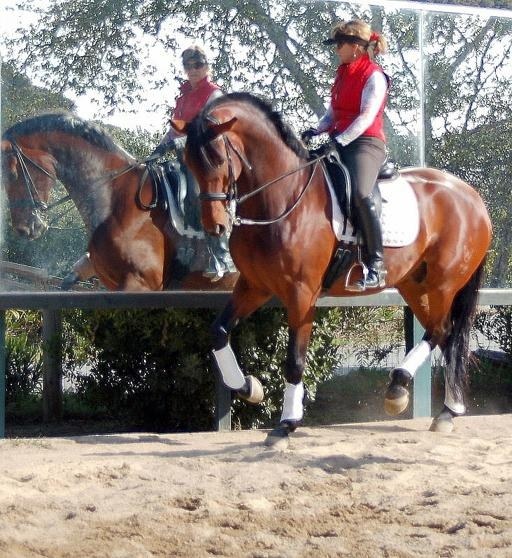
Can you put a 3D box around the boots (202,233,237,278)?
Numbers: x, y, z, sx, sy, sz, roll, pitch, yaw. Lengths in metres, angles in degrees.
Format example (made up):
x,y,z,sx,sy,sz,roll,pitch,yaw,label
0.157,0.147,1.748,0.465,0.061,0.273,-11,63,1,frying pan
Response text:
x,y,z,sx,sy,sz,roll,pitch,yaw,label
-0.273,-0.188,5.998,0.217,0.289,0.137,-17,5,-30,boots

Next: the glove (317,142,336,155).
x,y,z,sx,sy,sz,roll,pitch,yaw,label
0.439,-0.824,5.260,0.069,0.040,0.109,-10,38,40,glove
